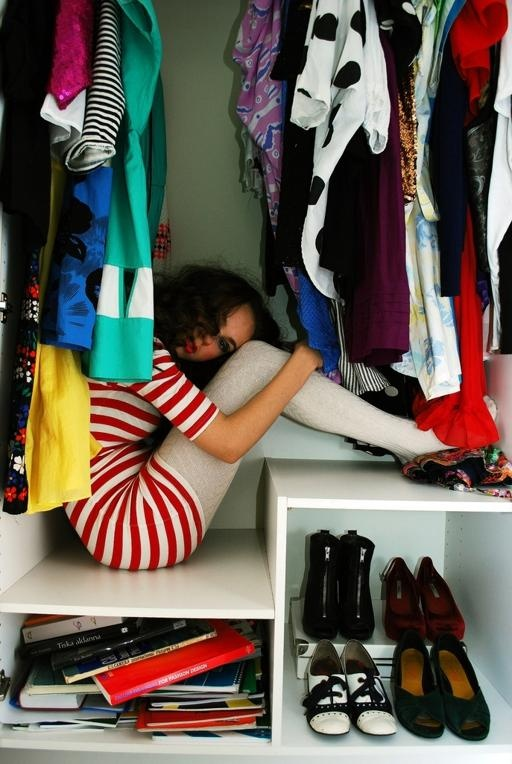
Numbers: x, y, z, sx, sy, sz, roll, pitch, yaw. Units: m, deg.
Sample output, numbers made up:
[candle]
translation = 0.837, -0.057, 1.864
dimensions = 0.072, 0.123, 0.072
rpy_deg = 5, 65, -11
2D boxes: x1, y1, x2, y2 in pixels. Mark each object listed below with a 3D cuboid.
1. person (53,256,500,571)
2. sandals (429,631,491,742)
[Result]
[person]
translation = 0.039, -0.042, 1.489
dimensions = 0.903, 0.674, 0.481
rpy_deg = -13, 14, -13
[sandals]
translation = 0.381, 0.560, 1.159
dimensions = 0.055, 0.047, 0.173
rpy_deg = -2, 14, 3
